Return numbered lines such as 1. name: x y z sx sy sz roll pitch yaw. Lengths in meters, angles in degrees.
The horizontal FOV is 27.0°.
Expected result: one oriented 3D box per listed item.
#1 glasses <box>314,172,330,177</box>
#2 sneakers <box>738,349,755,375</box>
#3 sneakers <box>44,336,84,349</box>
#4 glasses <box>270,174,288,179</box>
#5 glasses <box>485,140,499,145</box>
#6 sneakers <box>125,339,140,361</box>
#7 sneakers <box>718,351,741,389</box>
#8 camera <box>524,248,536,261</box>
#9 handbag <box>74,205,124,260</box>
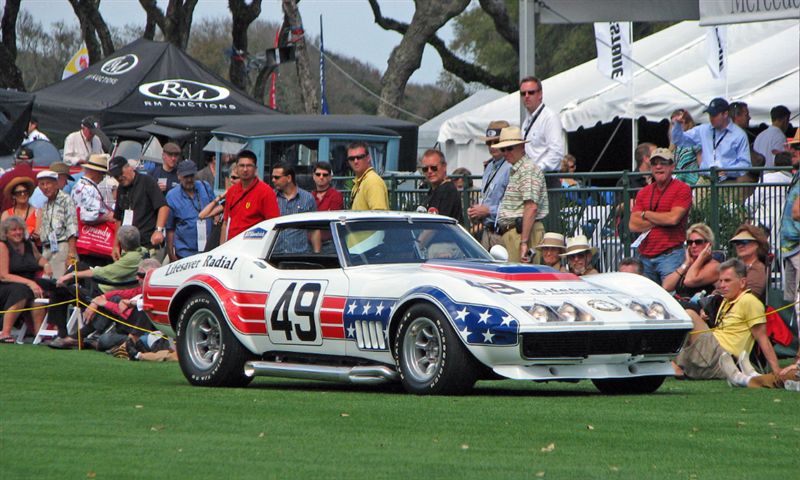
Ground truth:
1. glasses: -1.478 -1.285 31.963 0.294 0.083 0.193 3 0 -16
2. sneakers: 5.823 2.010 27.936 0.180 0.462 0.150 -2 -25 -19
3. sneakers: -6.390 1.862 31.417 0.581 0.257 0.234 6 0 -10
4. glasses: -2.330 -1.238 31.660 0.152 0.115 0.359 3 -1 -39
5. glasses: 1.707 -1.826 30.628 0.202 0.096 0.247 1 -2 6
6. sneakers: -4.961 1.962 30.696 0.267 0.356 0.128 6 -29 -26
7. sneakers: 5.549 2.098 27.912 0.214 0.623 0.236 -10 -4 1
8. camera: 2.325 0.195 29.809 0.179 0.167 0.308 -3 -15 -11
9. handbag: -5.925 -0.196 32.543 0.967 0.953 0.351 1 -7 2
